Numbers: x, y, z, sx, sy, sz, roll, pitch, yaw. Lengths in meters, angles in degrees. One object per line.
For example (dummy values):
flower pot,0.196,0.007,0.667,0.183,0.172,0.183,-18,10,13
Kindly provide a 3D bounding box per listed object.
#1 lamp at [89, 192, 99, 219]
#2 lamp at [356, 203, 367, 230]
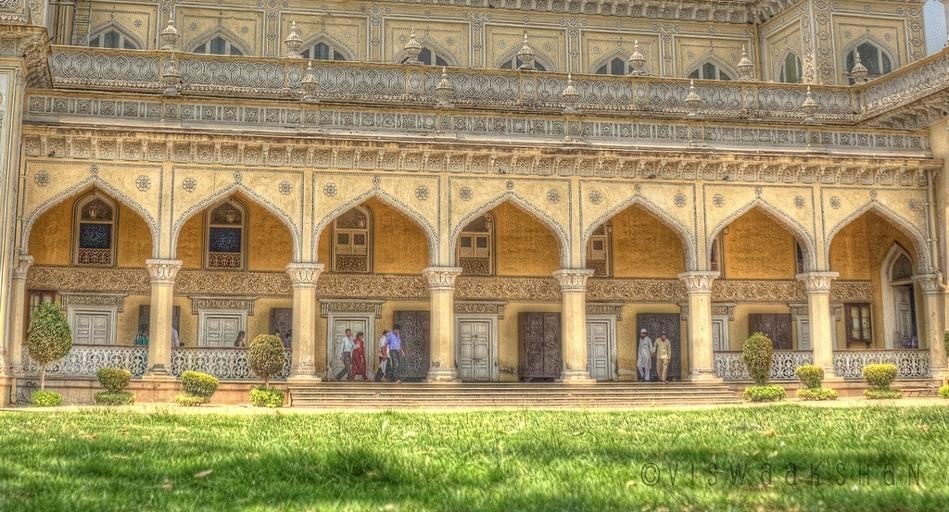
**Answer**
lamp,-12.482,-1.581,43.005,0.270,0.760,0.133,-2,8,-14
lamp,-3.830,-1.298,44.338,0.561,0.751,0.185,0,8,-4
